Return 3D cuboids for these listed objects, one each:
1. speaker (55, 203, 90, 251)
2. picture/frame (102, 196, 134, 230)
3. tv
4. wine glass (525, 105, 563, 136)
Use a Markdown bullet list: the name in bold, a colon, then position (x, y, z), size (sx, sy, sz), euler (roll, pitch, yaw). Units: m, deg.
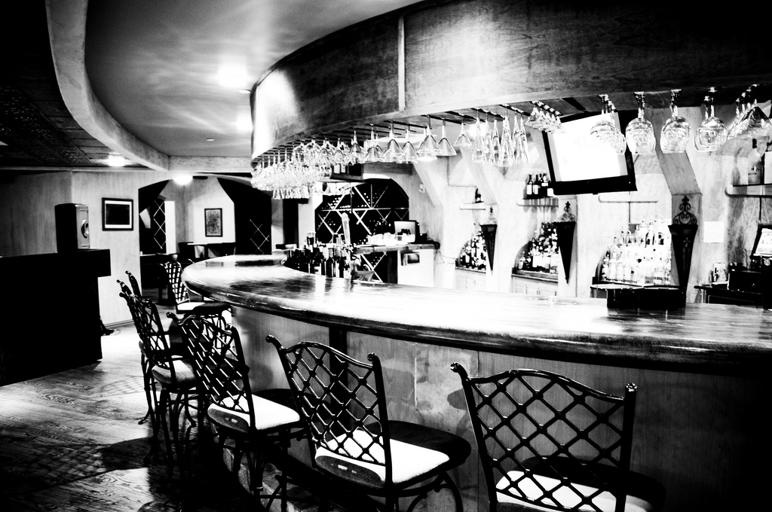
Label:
- **speaker**: position (-4.353, -0.385, 8.125), size (0.392, 0.657, 0.564), euler (-2, 0, -30)
- **picture/frame**: position (-4.865, -0.744, 10.644), size (0.595, 0.515, 0.039), euler (2, 4, 11)
- **tv**: position (1.774, -0.904, 5.068), size (0.070, 0.643, 0.666), euler (-20, 13, -31)
- **wine glass**: position (1.165, -1.003, 4.307), size (0.239, 0.192, 0.408), euler (-1, -1, 26)
